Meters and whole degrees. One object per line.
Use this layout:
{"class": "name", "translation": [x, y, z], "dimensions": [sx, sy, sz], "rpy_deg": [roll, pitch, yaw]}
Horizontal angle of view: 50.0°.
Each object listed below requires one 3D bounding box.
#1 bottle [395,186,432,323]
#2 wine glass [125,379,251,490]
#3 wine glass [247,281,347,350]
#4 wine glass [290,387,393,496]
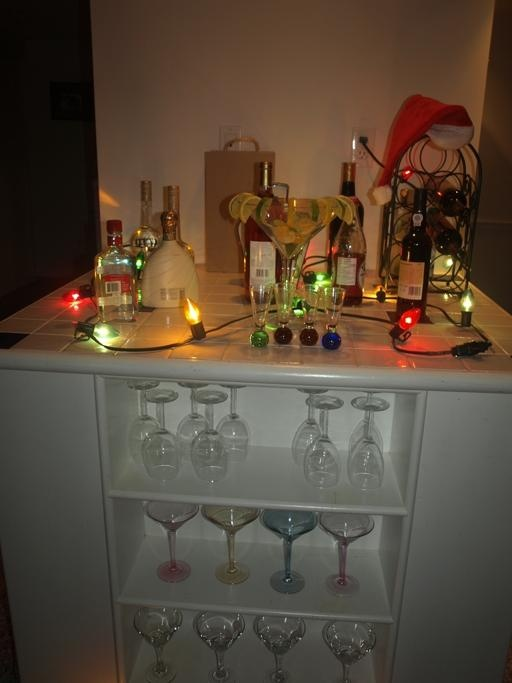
{"class": "bottle", "translation": [0.348, -0.184, 1.217], "dimensions": [0.065, 0.279, 0.169], "rpy_deg": [3, 7, 14]}
{"class": "wine glass", "translation": [-0.146, 0.203, 1.182], "dimensions": [0.229, 0.165, 0.222], "rpy_deg": [1, 8, -1]}
{"class": "wine glass", "translation": [0.082, -0.051, 1.138], "dimensions": [0.166, 0.105, 0.041], "rpy_deg": [0, 15, -3]}
{"class": "wine glass", "translation": [0.177, 0.195, 1.175], "dimensions": [0.205, 0.192, 0.186], "rpy_deg": [4, 7, 24]}
